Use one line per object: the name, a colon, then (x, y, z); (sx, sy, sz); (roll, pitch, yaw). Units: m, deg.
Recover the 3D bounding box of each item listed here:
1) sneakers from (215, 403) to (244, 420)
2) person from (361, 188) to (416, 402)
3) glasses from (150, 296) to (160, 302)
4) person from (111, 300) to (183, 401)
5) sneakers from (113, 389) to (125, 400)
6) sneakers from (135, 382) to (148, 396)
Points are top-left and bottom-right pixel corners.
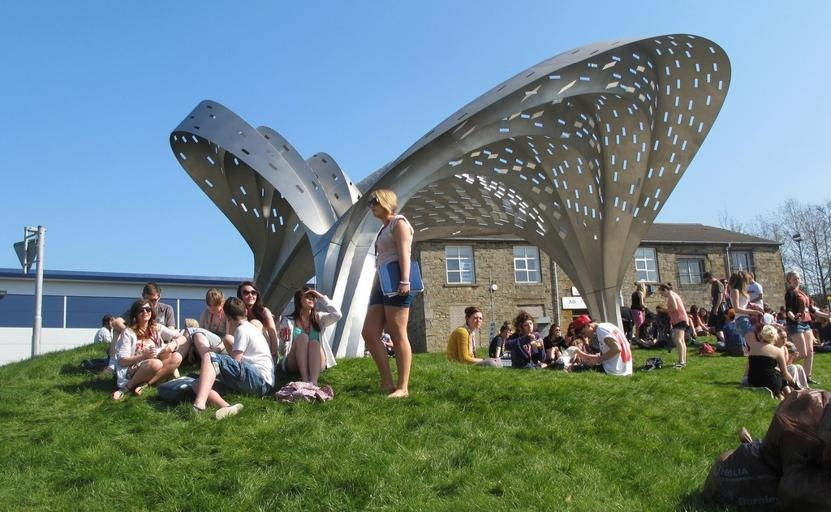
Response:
sneakers: (-3.001, 2.484, 8.412); (0.154, 0.156, 0.402); (-3, 2, 45)
person: (-0.488, 0.628, 9.147); (0.874, 3.528, 0.932); (0, 5, -7)
glasses: (-5.985, 0.970, 11.929); (0.168, 0.071, 0.192); (-3, -25, -1)
person: (-5.175, 1.657, 9.959); (1.067, 1.677, 1.467); (1, 2, 27)
sneakers: (-5.225, 2.425, 9.181); (0.190, 0.099, 0.436); (-3, 7, -30)
sneakers: (-4.945, 2.370, 9.377); (0.091, 0.271, 0.110); (25, -25, -5)
